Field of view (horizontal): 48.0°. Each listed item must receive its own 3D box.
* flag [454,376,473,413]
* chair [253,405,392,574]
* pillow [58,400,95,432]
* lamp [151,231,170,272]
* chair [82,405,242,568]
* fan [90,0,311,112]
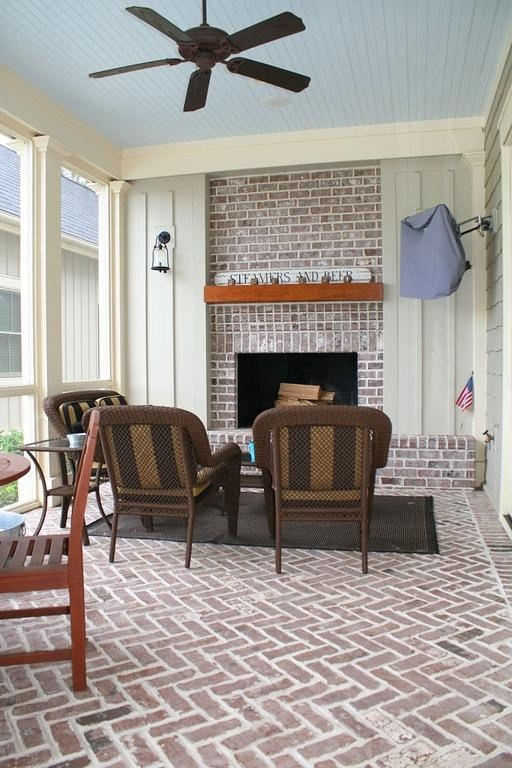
[{"bbox_3d":[1.940,0.088,5.377,0.140,0.278,0.199,-1,-1,9],"label":"flag"},{"bbox_3d":[0.349,0.447,3.249,0.890,1.143,0.790,0,5,4],"label":"chair"},{"bbox_3d":[-1.251,0.223,3.939,0.084,0.252,0.260,-3,1,22],"label":"pillow"},{"bbox_3d":[-1.028,-1.433,6.169,0.204,0.448,0.156,-1,-1,2],"label":"lamp"},{"bbox_3d":[-0.364,0.528,3.457,0.736,1.014,0.945,0,0,14],"label":"chair"},{"bbox_3d":[-0.250,-1.595,2.814,0.852,0.355,0.867,0,1,14],"label":"fan"}]
